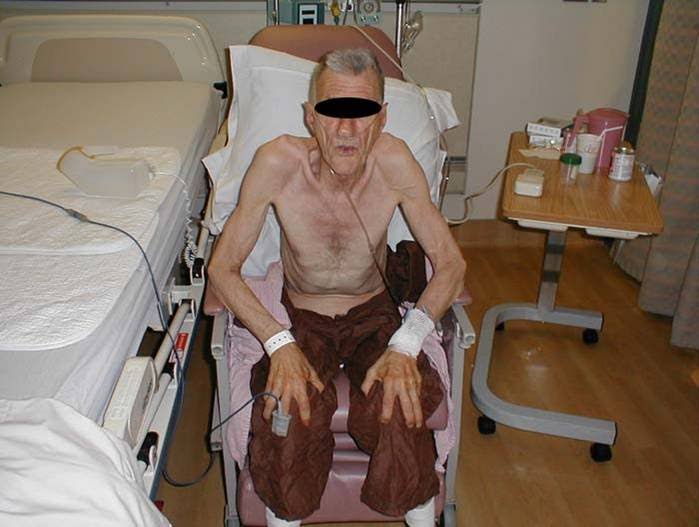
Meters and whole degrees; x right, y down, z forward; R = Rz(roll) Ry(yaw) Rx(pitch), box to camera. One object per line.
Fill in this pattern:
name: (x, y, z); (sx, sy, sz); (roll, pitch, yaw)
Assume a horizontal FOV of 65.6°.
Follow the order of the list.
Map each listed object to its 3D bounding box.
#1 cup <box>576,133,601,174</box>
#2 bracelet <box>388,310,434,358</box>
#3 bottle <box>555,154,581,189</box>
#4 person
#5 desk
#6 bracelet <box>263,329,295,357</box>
cup: (1.013, -0.466, 2.309); (0.085, 0.148, 0.099); (4, 32, 11)
bracelet: (0.193, 0.216, 1.677); (0.096, 0.069, 0.169); (25, 62, 5)
bottle: (0.920, -0.378, 2.275); (0.098, 0.127, 0.110); (-8, 35, -6)
person: (-0.060, 0.078, 1.666); (0.809, 1.306, 0.805); (5, 25, 11)
desk: (1.040, 0.170, 2.551); (0.547, 0.939, 1.221); (3, 36, 8)
bracelet: (-0.217, 0.235, 1.671); (0.072, 0.034, 0.078); (-37, -7, 23)
